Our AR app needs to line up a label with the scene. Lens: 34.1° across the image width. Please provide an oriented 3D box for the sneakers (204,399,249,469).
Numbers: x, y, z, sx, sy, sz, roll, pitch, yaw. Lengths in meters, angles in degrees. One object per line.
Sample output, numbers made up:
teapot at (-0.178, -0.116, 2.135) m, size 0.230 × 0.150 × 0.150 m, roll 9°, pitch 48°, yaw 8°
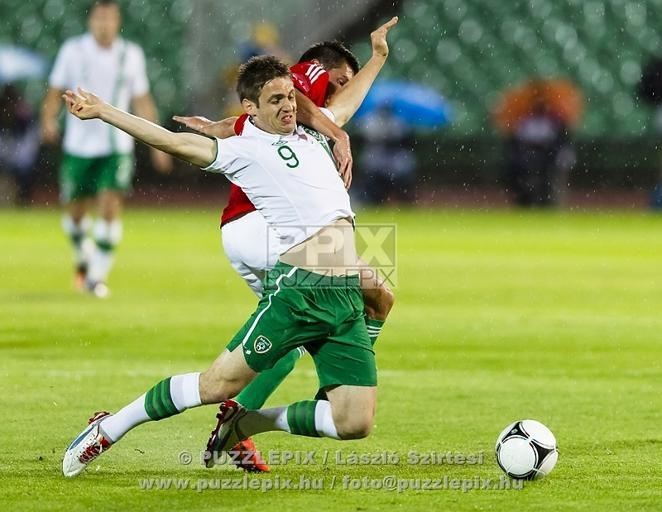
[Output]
sneakers at (-0.624, 1.016, 6.373) m, size 0.207 × 0.467 × 0.153 m, roll 27°, pitch 1°, yaw -10°

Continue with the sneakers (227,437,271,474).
sneakers at (-0.483, 1.182, 6.399) m, size 0.270 × 0.142 × 0.127 m, roll 40°, pitch -24°, yaw -21°

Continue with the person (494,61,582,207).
person at (1.791, -0.955, 9.435) m, size 0.733 × 1.248 × 1.565 m, roll 2°, pitch 12°, yaw 8°

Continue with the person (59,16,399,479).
person at (-0.495, 0.047, 6.250) m, size 1.522 × 2.274 × 0.554 m, roll 0°, pitch 12°, yaw 1°
